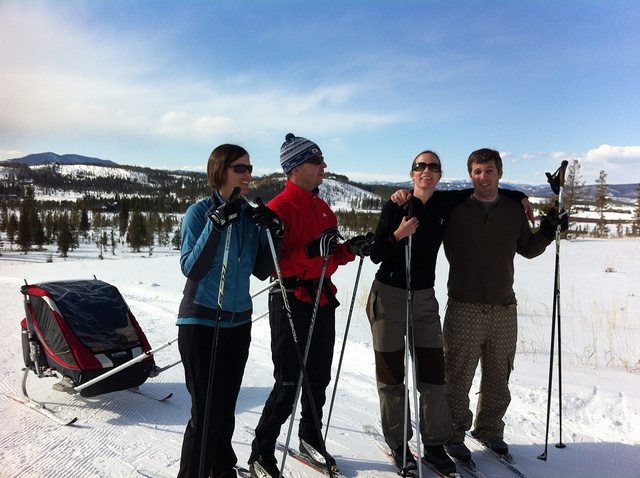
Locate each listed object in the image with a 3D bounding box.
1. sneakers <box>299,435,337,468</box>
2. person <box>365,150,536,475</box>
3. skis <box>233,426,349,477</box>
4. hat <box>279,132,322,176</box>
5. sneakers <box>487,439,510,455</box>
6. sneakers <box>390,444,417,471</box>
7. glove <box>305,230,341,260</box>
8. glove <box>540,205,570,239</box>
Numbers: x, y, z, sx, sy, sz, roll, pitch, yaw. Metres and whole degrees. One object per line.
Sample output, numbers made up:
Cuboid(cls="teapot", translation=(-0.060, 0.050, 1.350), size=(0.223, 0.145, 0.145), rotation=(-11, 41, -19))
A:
Cuboid(cls="sneakers", translation=(-0.003, 2.467, 5.520), size=(0.485, 0.230, 0.184), rotation=(25, 8, 21))
Cuboid(cls="person", translation=(1.050, 0.815, 5.447), size=(0.996, 3.625, 0.804), rotation=(0, 7, 5))
Cuboid(cls="skis", translation=(-0.325, 2.465, 5.383), size=(1.338, 0.124, 0.151), rotation=(28, 59, 17))
Cuboid(cls="hat", translation=(-0.303, -1.010, 5.446), size=(0.320, 0.412, 0.472), rotation=(-15, 12, 11))
Cuboid(cls="sneakers", translation=(2.107, 2.450, 5.557), size=(0.110, 0.141, 0.292), rotation=(5, -7, -15))
Cuboid(cls="sneakers", translation=(0.982, 2.536, 5.436), size=(0.176, 0.220, 0.354), rotation=(-4, 8, -28))
Cuboid(cls="glove", translation=(0.069, 0.048, 5.121), size=(0.261, 0.294, 0.455), rotation=(5, 9, 37))
Cuboid(cls="glove", translation=(2.732, -0.170, 5.533), size=(0.279, 0.395, 0.177), rotation=(36, -14, -13))
